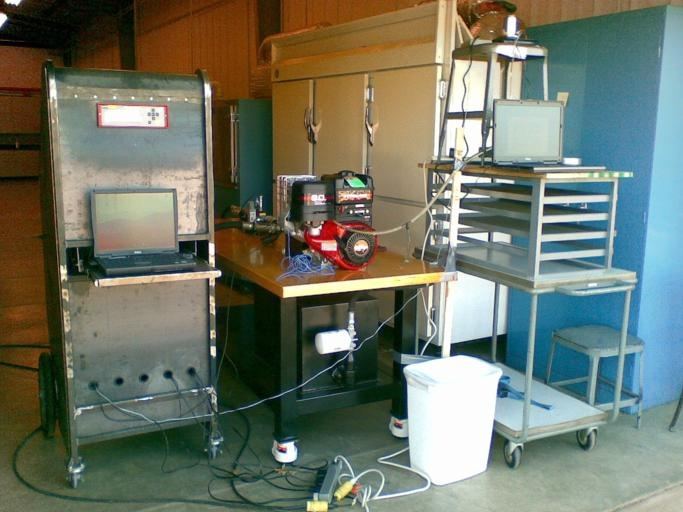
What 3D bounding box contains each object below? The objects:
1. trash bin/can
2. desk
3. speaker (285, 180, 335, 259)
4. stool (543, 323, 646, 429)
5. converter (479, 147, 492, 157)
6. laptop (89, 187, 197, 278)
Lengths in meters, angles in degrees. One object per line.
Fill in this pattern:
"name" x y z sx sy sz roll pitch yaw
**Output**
"trash bin/can" 0.609 0.912 3.237 0.648 0.557 0.420 -5 12 -25
"desk" -0.037 0.552 3.915 1.280 1.076 2.315 -5 13 -22
"speaker" -0.201 -0.239 3.661 0.269 0.477 0.477 -5 11 -10
"stool" 1.633 0.791 3.826 0.601 0.539 0.587 3 9 13
"converter" 0.851 -0.613 3.489 0.072 0.063 0.401 0 11 13
"laptop" -1.049 -0.150 3.110 0.621 0.461 0.473 -5 11 -32
